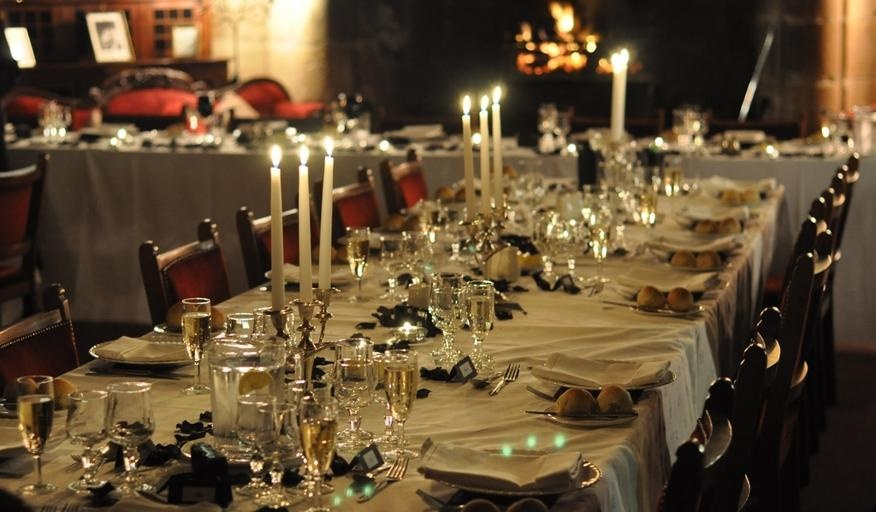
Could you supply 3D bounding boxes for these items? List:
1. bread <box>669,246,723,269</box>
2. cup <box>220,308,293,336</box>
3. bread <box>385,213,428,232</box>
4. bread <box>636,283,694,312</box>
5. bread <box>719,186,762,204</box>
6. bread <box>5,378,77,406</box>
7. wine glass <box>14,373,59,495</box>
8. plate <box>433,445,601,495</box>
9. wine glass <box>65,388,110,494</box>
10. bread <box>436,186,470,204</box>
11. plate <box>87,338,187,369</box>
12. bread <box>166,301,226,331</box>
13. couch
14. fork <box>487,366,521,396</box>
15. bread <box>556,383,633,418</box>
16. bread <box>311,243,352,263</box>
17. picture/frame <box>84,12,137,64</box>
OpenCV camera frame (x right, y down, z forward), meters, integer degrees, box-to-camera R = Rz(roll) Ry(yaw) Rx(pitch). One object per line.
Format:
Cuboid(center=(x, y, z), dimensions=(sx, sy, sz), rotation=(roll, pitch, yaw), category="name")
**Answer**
Cuboid(center=(1.150, 0.008, 3.525), dimensions=(0.172, 0.085, 0.108), rotation=(1, 6, 9), category="bread")
Cuboid(center=(-0.556, 0.215, 2.550), dimensions=(0.131, 0.102, 0.139), rotation=(1, 2, 0), category="cup")
Cuboid(center=(-0.150, -0.165, 4.009), dimensions=(0.157, 0.056, 0.162), rotation=(-2, -1, -10), category="bread")
Cuboid(center=(0.895, 0.158, 3.115), dimensions=(0.174, 0.087, 0.104), rotation=(-1, 6, 25), category="bread")
Cuboid(center=(1.835, -0.356, 4.789), dimensions=(0.167, 0.088, 0.211), rotation=(2, 1, 15), category="bread")
Cuboid(center=(-1.199, 0.403, 2.436), dimensions=(0.133, 0.066, 0.162), rotation=(1, -6, 21), category="bread")
Cuboid(center=(-1.177, 0.508, 2.339), dimensions=(0.104, 0.267, 0.323), rotation=(-7, 14, -24), category="wine glass")
Cuboid(center=(0.198, 0.603, 2.223), dimensions=(0.329, 0.062, 0.197), rotation=(1, 8, 12), category="plate")
Cuboid(center=(-1.005, 0.518, 2.292), dimensions=(0.129, 0.258, 0.213), rotation=(-6, 14, -22), category="wine glass")
Cuboid(center=(0.094, -0.370, 4.848), dimensions=(0.150, 0.054, 0.149), rotation=(-2, 6, -32), category="bread")
Cuboid(center=(-1.017, 0.334, 2.817), dimensions=(0.351, 0.080, 0.205), rotation=(-1, 13, 1), category="plate")
Cuboid(center=(-0.898, 0.230, 2.960), dimensions=(0.146, 0.078, 0.144), rotation=(0, -1, -37), category="bread")
Cuboid(center=(-2.836, -1.596, 7.846), dimensions=(2.878, 0.602, 1.105), rotation=(-2, 13, -5), category="couch")
Cuboid(center=(0.229, 0.413, 2.687), dimensions=(0.043, 0.032, 0.223), rotation=(9, 29, 26), category="fork")
Cuboid(center=(0.497, 0.460, 2.489), dimensions=(0.176, 0.081, 0.113), rotation=(-2, -1, 0), category="bread")
Cuboid(center=(-0.475, -0.004, 3.575), dimensions=(0.118, 0.044, 0.128), rotation=(1, 9, 0), category="bread")
Cuboid(center=(-3.121, -2.082, 7.598), dimensions=(0.510, 0.469, 0.223), rotation=(6, 15, 29), category="picture/frame")
